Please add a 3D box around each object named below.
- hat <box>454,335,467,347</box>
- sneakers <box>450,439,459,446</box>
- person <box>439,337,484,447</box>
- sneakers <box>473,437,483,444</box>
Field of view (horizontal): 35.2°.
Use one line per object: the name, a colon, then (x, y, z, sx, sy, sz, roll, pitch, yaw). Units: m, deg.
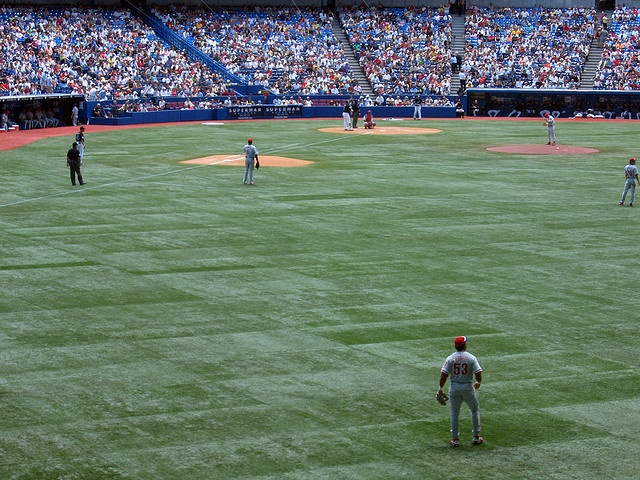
hat: (2.449, 1.801, 17.549, 0.167, 0.163, 0.231, 1, 9, 2)
sneakers: (2.396, 3.617, 17.808, 0.085, 0.067, 0.190, -1, 8, -5)
person: (2.503, 2.695, 17.733, 0.855, 1.987, 0.729, 2, 11, 7)
sneakers: (2.830, 3.575, 17.884, 0.085, 0.122, 0.226, 10, 16, 39)
